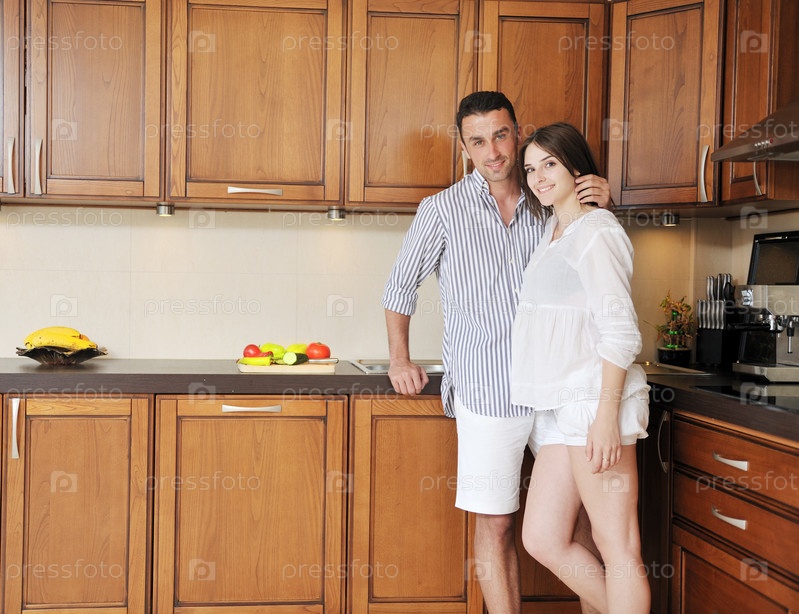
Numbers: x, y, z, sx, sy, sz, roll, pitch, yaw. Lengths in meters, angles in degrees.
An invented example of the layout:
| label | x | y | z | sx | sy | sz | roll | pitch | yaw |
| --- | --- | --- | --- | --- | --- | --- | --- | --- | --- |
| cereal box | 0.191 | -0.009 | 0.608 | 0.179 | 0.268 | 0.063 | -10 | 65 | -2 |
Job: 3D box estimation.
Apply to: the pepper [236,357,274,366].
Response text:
| label | x | y | z | sx | sy | sz | roll | pitch | yaw |
| --- | --- | --- | --- | --- | --- | --- | --- | --- | --- |
| pepper | -0.526 | 0.190 | 3.358 | 0.132 | 0.048 | 0.042 | -1 | 2 | 5 |

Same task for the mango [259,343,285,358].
| label | x | y | z | sx | sy | sz | roll | pitch | yaw |
| --- | --- | --- | --- | --- | --- | --- | --- | --- | --- |
| mango | -0.465 | 0.158 | 3.401 | 0.065 | 0.047 | 0.050 | 10 | -2 | 36 |

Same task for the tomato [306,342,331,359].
| label | x | y | z | sx | sy | sz | roll | pitch | yaw |
| --- | --- | --- | --- | --- | --- | --- | --- | --- | --- |
| tomato | -0.306 | 0.153 | 3.438 | 0.059 | 0.069 | 0.062 | -5 | 23 | -30 |

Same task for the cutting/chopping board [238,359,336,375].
| label | x | y | z | sx | sy | sz | roll | pitch | yaw |
| --- | --- | --- | --- | --- | --- | --- | --- | --- | --- |
| cutting/chopping board | -0.402 | 0.219 | 3.255 | 0.351 | 0.022 | 0.217 | -2 | 5 | -5 |

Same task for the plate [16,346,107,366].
| label | x | y | z | sx | sy | sz | roll | pitch | yaw |
| --- | --- | --- | --- | --- | --- | --- | --- | --- | --- |
| plate | -1.219 | 0.175 | 3.338 | 0.129 | 0.041 | 0.137 | 1 | 4 | 32 |

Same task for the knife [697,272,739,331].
| label | x | y | z | sx | sy | sz | roll | pitch | yaw |
| --- | --- | --- | --- | --- | --- | --- | --- | --- | --- |
| knife | 1.187 | -0.021 | 3.474 | 0.142 | 0.198 | 0.274 | -2 | 5 | -10 |

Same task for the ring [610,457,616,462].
| label | x | y | z | sx | sy | sz | roll | pitch | yaw |
| --- | --- | --- | --- | --- | --- | --- | --- | --- | --- |
| ring | 0.622 | 0.445 | 2.684 | 0.012 | 0.010 | 0.012 | -1 | 10 | 0 |

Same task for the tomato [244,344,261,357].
| label | x | y | z | sx | sy | sz | roll | pitch | yaw |
| --- | --- | --- | --- | --- | --- | --- | --- | --- | --- |
| tomato | -0.545 | 0.160 | 3.399 | 0.045 | 0.053 | 0.046 | 5 | 1 | -10 |
